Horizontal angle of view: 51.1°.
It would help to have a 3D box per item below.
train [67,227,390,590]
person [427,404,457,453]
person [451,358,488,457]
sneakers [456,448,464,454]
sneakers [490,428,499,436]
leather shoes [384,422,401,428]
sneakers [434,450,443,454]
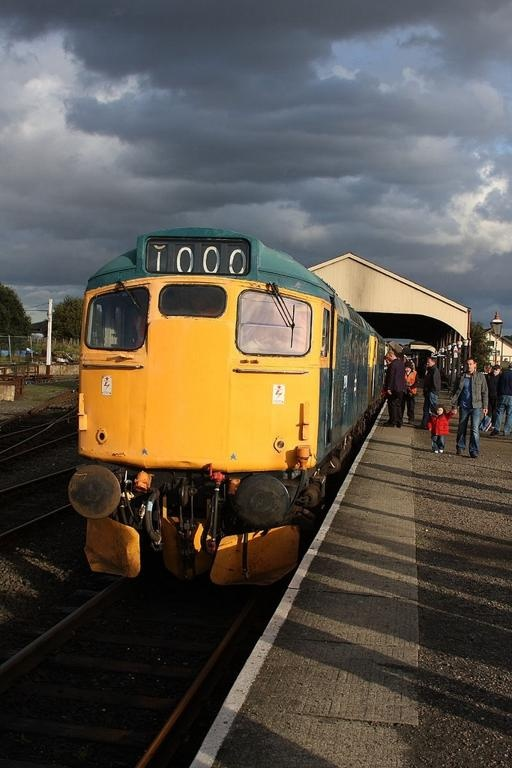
[{"bbox_3d":[-0.425,0.348,5.572,2.669,3.647,1.847,1,-3,-1],"label":"train"},{"bbox_3d":[4.354,1.088,12.592,0.767,1.391,0.552,-6,23,5],"label":"person"},{"bbox_3d":[4.396,0.534,11.079,0.712,2.050,0.673,0,1,-44],"label":"person"},{"bbox_3d":[4.517,1.491,11.826,0.189,0.163,0.258,1,-6,0],"label":"sneakers"},{"bbox_3d":[7.173,1.456,15.997,0.179,0.250,0.616,0,6,18],"label":"sneakers"},{"bbox_3d":[4.303,1.310,16.843,0.175,0.256,0.557,-2,-5,-40],"label":"leather shoes"},{"bbox_3d":[4.063,1.519,11.878,0.126,0.053,0.134,-5,0,20],"label":"sneakers"}]
